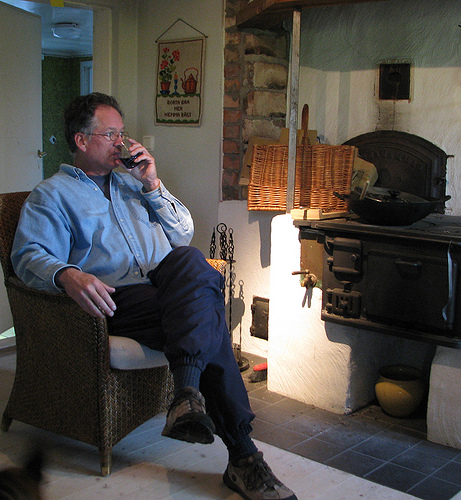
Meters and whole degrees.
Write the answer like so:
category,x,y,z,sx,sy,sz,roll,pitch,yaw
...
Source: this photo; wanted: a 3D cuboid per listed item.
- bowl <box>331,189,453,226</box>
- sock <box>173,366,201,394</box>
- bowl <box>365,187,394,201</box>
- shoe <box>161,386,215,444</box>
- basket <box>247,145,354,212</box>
category,x,y,z,sx,sy,sz,roll,pitch,yaw
bowl,0.668,-0.171,1.894,0.470,0.133,0.240,3,6,12
sock,-0.128,0.378,1.306,0.065,0.067,0.074,3,-22,-7
bowl,0.685,-0.255,2.058,0.098,0.016,0.095,5,23,-2
shoe,-0.117,0.480,1.263,0.144,0.175,0.115,4,7,17
basket,0.370,-0.366,2.278,0.179,0.345,0.601,-4,9,-44
